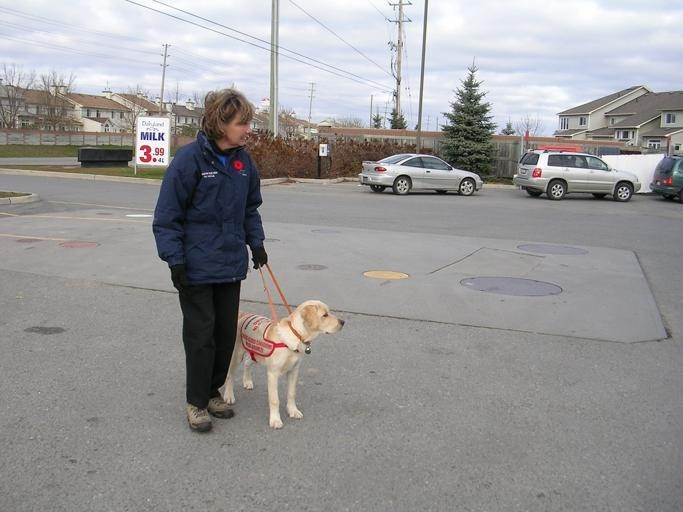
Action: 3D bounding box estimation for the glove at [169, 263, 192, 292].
[{"bbox_3d":[-1.115,0.141,3.338,0.101,0.196,0.072,-1,12,-13],"label":"glove"}]

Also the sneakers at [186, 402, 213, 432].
[{"bbox_3d":[-1.050,1.198,3.602,0.100,0.128,0.269,-1,2,-28],"label":"sneakers"}]

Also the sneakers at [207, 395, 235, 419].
[{"bbox_3d":[-0.945,1.181,3.784,0.107,0.094,0.226,-3,2,-37],"label":"sneakers"}]

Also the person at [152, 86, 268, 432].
[{"bbox_3d":[-0.909,0.041,3.562,0.846,2.466,0.406,-10,16,-43],"label":"person"}]

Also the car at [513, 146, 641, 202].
[{"bbox_3d":[11.534,-4.071,24.037,5.186,2.255,2.650,-2,10,-9],"label":"car"}]
